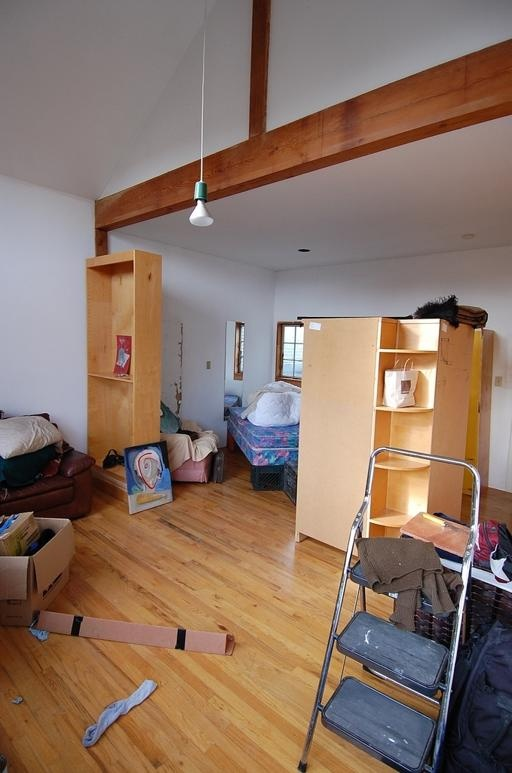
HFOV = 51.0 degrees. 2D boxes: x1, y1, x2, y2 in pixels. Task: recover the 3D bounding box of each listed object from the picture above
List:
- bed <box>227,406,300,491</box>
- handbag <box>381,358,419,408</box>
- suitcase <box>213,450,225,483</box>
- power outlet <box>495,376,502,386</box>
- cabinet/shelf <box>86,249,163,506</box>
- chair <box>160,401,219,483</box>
[{"bbox_3d":[0.118,0.627,5.076,0.464,0.497,1.692,-1,13,-11],"label":"bed"},{"bbox_3d":[0.827,-0.004,3.104,0.240,0.331,0.131,-5,10,-34],"label":"handbag"},{"bbox_3d":[-0.352,0.752,4.987,0.102,0.327,0.281,-1,-3,-3],"label":"suitcase"},{"bbox_3d":[2.232,-0.043,4.944,0.069,0.078,0.074,-6,18,-22],"label":"power outlet"},{"bbox_3d":[-1.117,-0.125,4.438,0.363,1.913,0.918,-9,15,-40],"label":"cabinet/shelf"},{"bbox_3d":[-0.641,0.513,5.101,0.604,0.747,0.751,0,6,-8],"label":"chair"}]
